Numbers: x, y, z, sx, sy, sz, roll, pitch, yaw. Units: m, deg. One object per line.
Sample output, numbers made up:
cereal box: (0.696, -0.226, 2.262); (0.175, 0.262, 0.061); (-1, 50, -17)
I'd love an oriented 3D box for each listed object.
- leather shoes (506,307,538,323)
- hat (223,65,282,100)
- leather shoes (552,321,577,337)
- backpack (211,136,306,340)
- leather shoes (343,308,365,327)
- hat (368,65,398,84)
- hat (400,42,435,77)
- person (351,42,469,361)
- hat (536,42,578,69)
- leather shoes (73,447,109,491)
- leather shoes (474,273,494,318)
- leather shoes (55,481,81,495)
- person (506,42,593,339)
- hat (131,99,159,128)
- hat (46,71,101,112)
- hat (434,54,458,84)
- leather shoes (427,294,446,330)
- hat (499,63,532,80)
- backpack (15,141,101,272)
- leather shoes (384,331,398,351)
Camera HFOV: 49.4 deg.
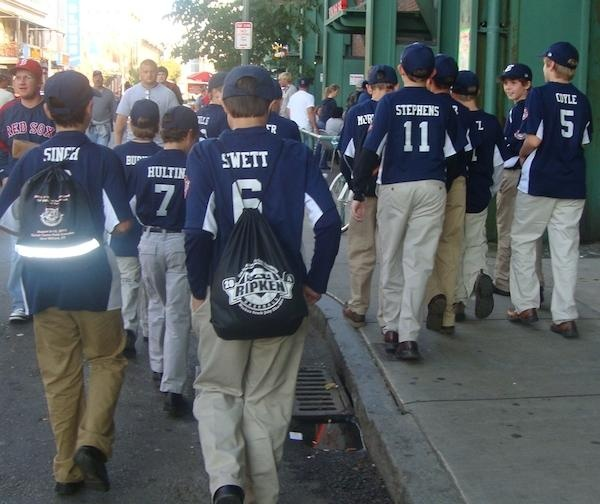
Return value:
leather shoes: (1.970, 0.543, 5.780); (0.106, 0.134, 0.282); (-7, 11, -9)
hat: (-0.218, -0.836, 3.178); (0.223, 0.176, 0.376); (4, 18, 4)
leather shoes: (2.192, 0.623, 5.423); (0.086, 0.106, 0.240); (-6, 9, -9)
backpack: (-0.190, 0.108, 2.961); (0.425, 0.578, 0.239); (-2, 11, 2)
leather shoes: (0.475, 0.553, 5.726); (0.087, 0.110, 0.247); (-6, 26, -22)
hat: (0.718, -1.552, 5.680); (0.222, 0.173, 0.374); (2, 19, 2)
hat: (0.880, -1.417, 4.817); (0.249, 0.271, 0.206); (-4, 12, -4)
person: (0.822, -0.363, 4.818); (0.830, 2.300, 0.525); (-4, 11, -6)
hat: (2.145, -1.644, 5.449); (0.193, 0.149, 0.270); (-9, 46, -30)
leather shoes: (-1.053, 1.097, 3.333); (0.111, 0.275, 0.113); (-10, 12, -6)
leather shoes: (1.538, 0.376, 5.501); (0.142, 0.397, 0.163); (-8, 18, -7)
leather shoes: (-1.215, 1.248, 3.467); (0.142, 0.065, 0.055); (1, 19, -5)
person: (2.112, -0.546, 5.535); (0.628, 2.389, 0.689); (2, 12, 23)
hat: (-1.177, -1.063, 4.988); (0.163, 0.142, 0.243); (-2, 46, -10)
hat: (-1.228, -0.865, 3.537); (0.183, 0.142, 0.282); (4, 53, 4)
hat: (1.150, -1.464, 5.203); (0.170, 0.249, 0.140); (-1, -26, -8)
leather shoes: (1.088, 0.475, 5.217); (0.119, 0.299, 0.128); (3, 14, -4)
hat: (2.116, -1.732, 6.282); (0.252, 0.138, 0.182); (3, 8, -20)
backpack: (-1.222, -0.200, 3.257); (0.399, 0.496, 0.147); (-2, 5, -2)
leather shoes: (0.707, 0.695, 5.053); (0.067, 0.077, 0.166); (-2, 14, 3)
